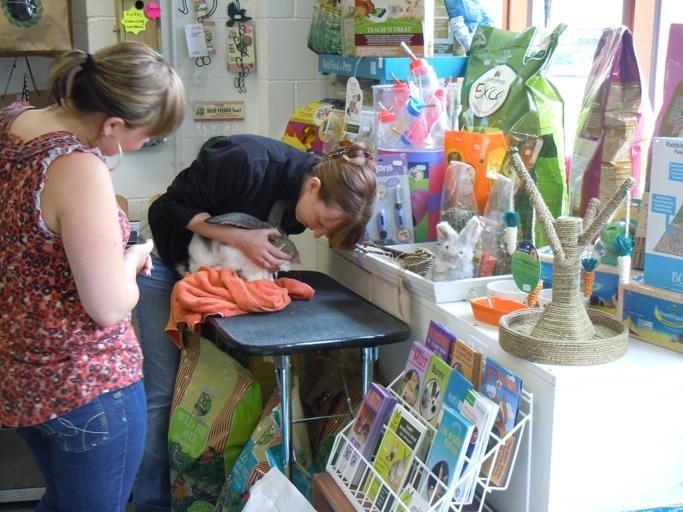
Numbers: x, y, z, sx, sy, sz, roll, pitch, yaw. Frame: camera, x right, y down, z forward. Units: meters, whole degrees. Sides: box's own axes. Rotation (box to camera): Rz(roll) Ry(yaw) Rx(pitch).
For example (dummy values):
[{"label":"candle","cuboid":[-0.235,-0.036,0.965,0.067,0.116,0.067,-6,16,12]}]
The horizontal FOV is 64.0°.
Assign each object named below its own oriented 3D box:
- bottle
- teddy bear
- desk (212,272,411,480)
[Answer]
[{"label":"bottle","cuboid":[0.296,-0.667,2.276,0.303,0.422,0.200,2,17,13]},{"label":"teddy bear","cuboid":[0.381,-0.011,1.822,0.148,0.232,0.136,21,22,41]},{"label":"desk","cuboid":[-0.173,0.435,2.231,0.632,0.537,1.065,-2,10,-23]}]
